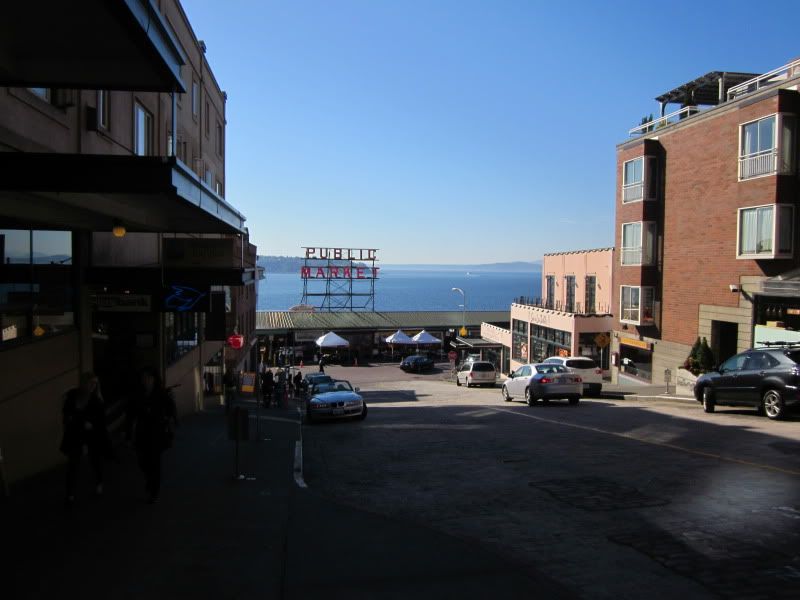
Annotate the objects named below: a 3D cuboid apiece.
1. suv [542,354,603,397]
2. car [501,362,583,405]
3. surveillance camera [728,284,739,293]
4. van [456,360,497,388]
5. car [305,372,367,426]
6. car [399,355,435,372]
[{"bbox_3d":[7.865,3.559,29.647,1.672,1.537,3.181,0,4,-8],"label":"suv"},{"bbox_3d":[5.133,3.163,25.167,1.455,1.552,3.069,1,-1,-20],"label":"car"},{"bbox_3d":[14.442,-0.428,29.492,0.255,0.245,0.373,-4,5,5],"label":"surveillance camera"},{"bbox_3d":[4.762,4.871,43.728,1.536,1.627,2.701,1,-1,-29],"label":"van"},{"bbox_3d":[-2.252,3.586,23.326,1.858,1.010,2.309,0,-1,-11],"label":"car"},{"bbox_3d":[1.802,6.028,63.226,1.298,1.072,3.037,-4,-10,31],"label":"car"}]
